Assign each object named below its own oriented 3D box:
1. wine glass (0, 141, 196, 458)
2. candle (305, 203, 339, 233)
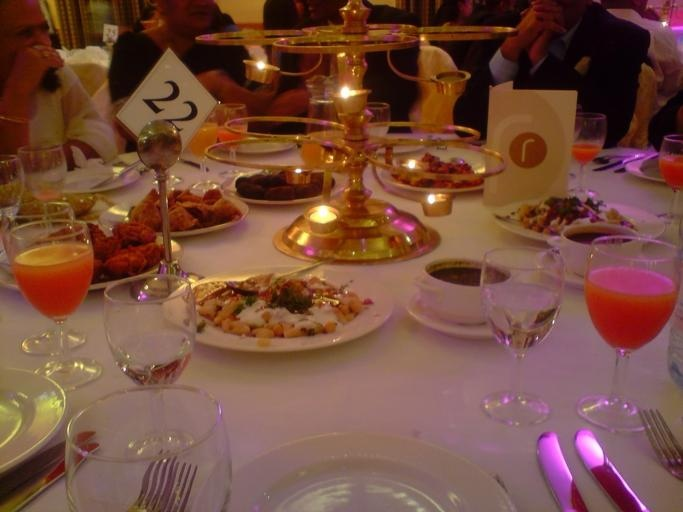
[{"bbox_3d":[-0.467,0.119,0.945,0.246,0.551,0.265,6,21,1],"label":"wine glass"},{"bbox_3d":[-0.049,-0.102,1.355,0.077,0.030,0.077,-21,43,-23],"label":"candle"}]
